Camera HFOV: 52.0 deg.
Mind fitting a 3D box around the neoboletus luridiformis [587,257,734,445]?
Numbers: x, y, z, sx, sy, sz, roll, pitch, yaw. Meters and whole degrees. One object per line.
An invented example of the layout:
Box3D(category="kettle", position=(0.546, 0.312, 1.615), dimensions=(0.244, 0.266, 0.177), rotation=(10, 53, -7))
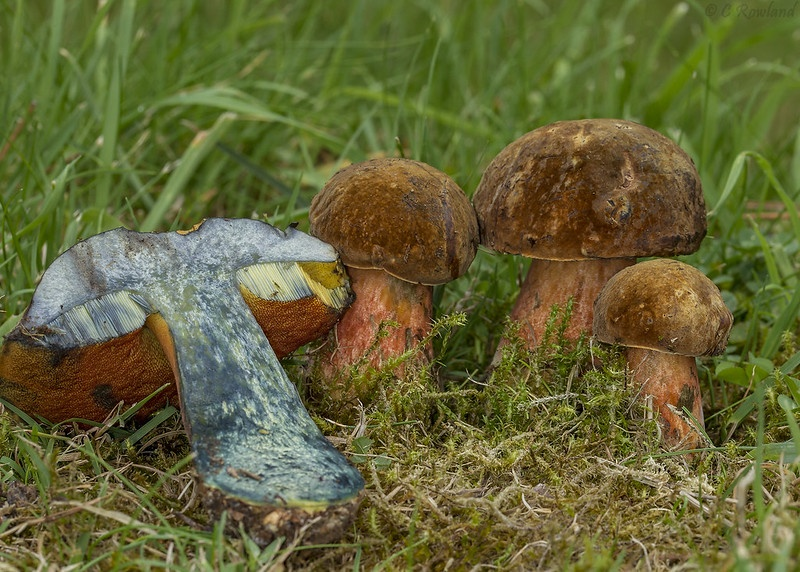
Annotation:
Box3D(category="neoboletus luridiformis", position=(0.916, 0.210, 2.963), dimensions=(0.471, 0.541, 0.381), rotation=(17, 38, 21))
